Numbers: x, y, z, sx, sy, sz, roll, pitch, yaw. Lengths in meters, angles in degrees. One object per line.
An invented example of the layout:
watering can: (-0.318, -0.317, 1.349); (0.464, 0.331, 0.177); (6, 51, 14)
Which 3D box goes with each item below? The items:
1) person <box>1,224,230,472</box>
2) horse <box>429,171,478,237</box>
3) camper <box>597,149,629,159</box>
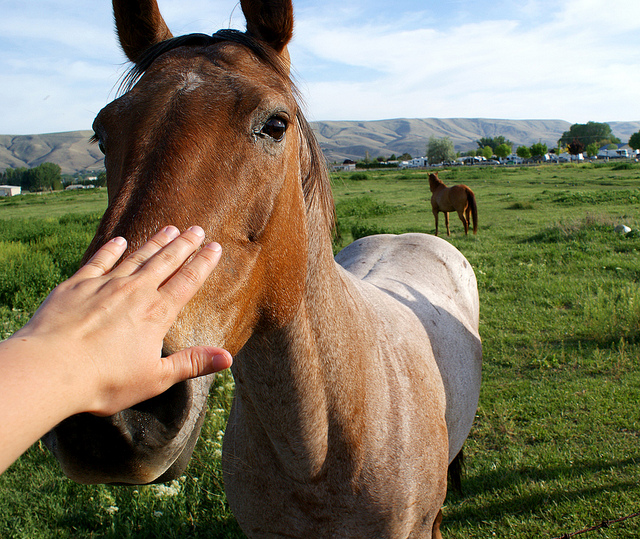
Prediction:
person: (-0.579, 0.187, 1.516); (0.463, 0.206, 0.752); (36, 34, -4)
horse: (4.359, -2.202, 17.054); (0.712, 2.242, 2.903); (-8, 11, -20)
camper: (52.209, -20.843, 89.469); (4.399, 1.006, 29.677); (2, 16, 30)
